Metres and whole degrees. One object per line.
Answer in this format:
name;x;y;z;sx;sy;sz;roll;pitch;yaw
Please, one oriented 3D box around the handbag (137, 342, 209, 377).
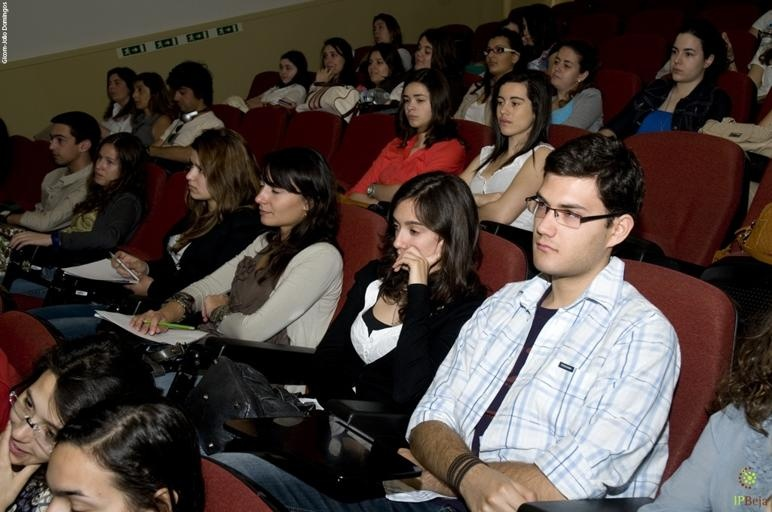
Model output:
handbag;-0.849;0.415;2.119;0.226;0.081;0.132;-22;33;-38
